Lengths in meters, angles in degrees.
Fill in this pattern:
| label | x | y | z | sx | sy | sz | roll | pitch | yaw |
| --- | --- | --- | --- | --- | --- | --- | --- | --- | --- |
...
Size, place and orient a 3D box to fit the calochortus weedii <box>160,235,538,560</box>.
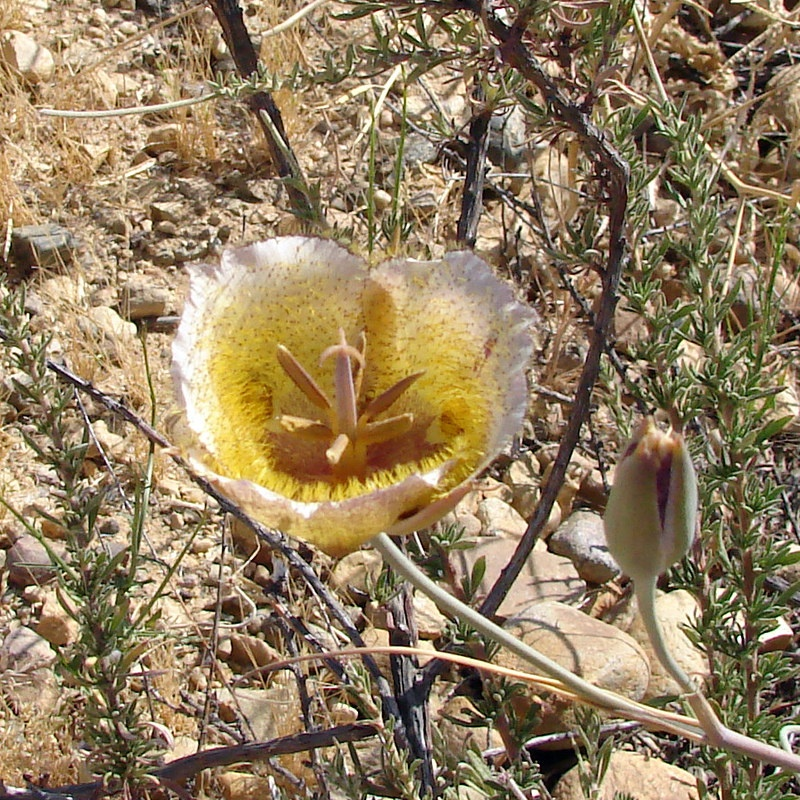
| label | x | y | z | sx | sy | sz | roll | pitch | yaw |
| --- | --- | --- | --- | --- | --- | --- | --- | --- | --- |
| calochortus weedii | -0.098 | 0.046 | 2.459 | 0.794 | 0.444 | 0.835 | 27 | 45 | 30 |
